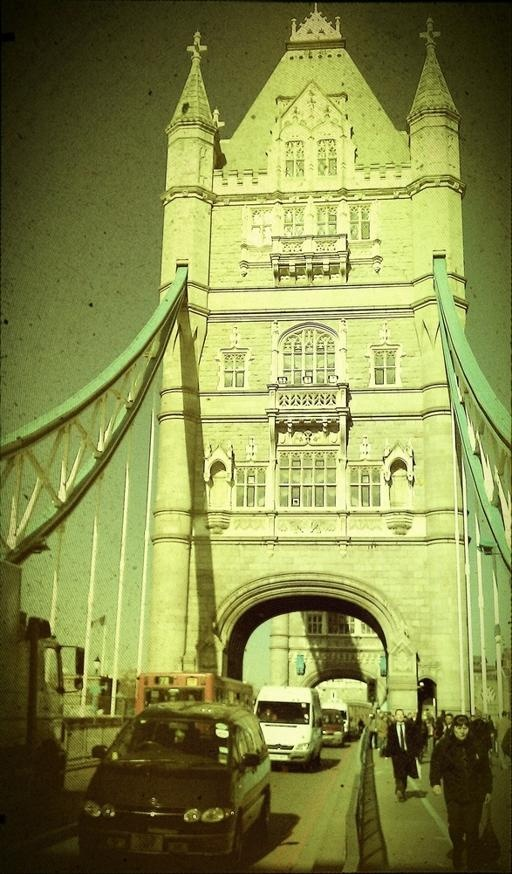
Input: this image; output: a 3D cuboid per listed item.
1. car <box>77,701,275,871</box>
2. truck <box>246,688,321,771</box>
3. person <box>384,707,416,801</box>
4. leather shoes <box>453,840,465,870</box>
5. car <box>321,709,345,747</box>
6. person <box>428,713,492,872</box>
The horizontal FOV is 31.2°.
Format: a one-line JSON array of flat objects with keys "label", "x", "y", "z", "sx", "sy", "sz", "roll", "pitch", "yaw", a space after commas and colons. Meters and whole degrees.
[{"label": "car", "x": -0.781, "y": 3.510, "z": 9.227, "sx": 1.709, "sy": 1.537, "sz": 2.308, "roll": 3, "pitch": -14, "yaw": -3}, {"label": "truck", "x": 0.644, "y": 7.130, "z": 22.704, "sx": 1.684, "sy": 1.823, "sz": 3.458, "roll": -3, "pitch": -26, "yaw": 6}, {"label": "person", "x": 2.432, "y": 5.319, "z": 15.382, "sx": 0.523, "sy": 1.364, "sz": 1.344, "roll": 0, "pitch": -14, "yaw": 8}, {"label": "leather shoes", "x": 1.920, "y": 4.004, "z": 8.748, "sx": 0.105, "sy": 0.306, "sz": 0.431, "roll": -1, "pitch": -15, "yaw": 12}, {"label": "car", "x": 3.224, "y": 13.376, "z": 41.826, "sx": 1.610, "sy": 1.685, "sz": 3.401, "roll": -2, "pitch": -16, "yaw": 6}, {"label": "person", "x": 1.963, "y": 3.436, "z": 8.805, "sx": 0.563, "sy": 1.437, "sz": 0.613, "roll": -1, "pitch": -14, "yaw": 11}]
